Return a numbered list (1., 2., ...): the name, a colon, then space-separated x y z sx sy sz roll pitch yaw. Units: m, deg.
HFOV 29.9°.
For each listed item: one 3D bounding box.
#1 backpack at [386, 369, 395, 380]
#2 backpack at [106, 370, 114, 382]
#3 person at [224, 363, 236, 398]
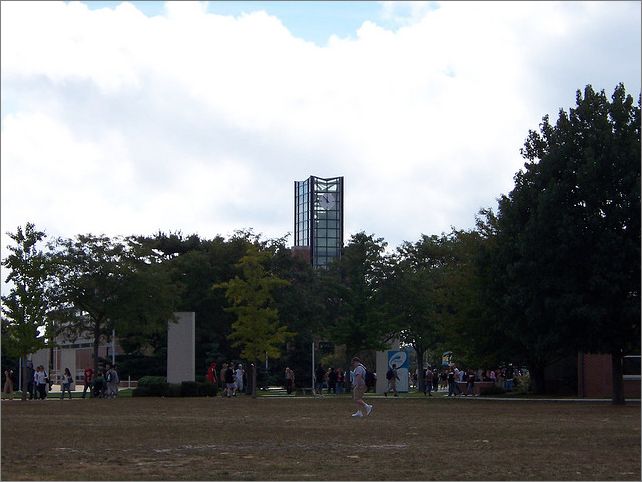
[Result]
1. backpack: 3.839 7.253 65.331 0.491 0.582 0.390 7 -5 -11
2. backpack: -10.982 6.928 62.241 0.450 0.866 0.664 1 -2 -12
3. person: -4.852 7.344 63.035 0.556 1.485 1.950 1 -13 -7
